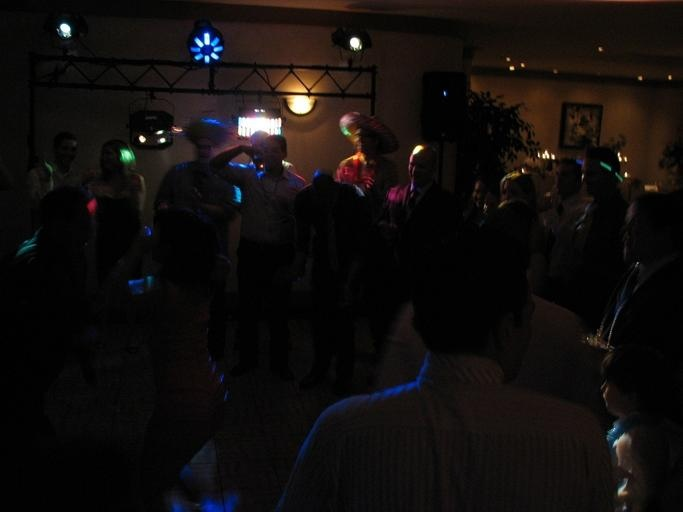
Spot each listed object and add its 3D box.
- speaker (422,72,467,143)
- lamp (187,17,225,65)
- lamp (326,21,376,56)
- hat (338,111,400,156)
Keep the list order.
[{"bbox_3d":[1.209,-1.779,6.622,0.523,0.792,0.444,4,33,14],"label":"speaker"},{"bbox_3d":[-1.325,-2.097,5.649,0.327,0.427,0.131,-5,14,-5],"label":"lamp"},{"bbox_3d":[0.085,-2.246,6.064,0.384,0.306,0.133,5,-5,-1],"label":"lamp"},{"bbox_3d":[0.147,-1.096,5.017,0.495,0.187,0.433,17,-15,-35],"label":"hat"}]
